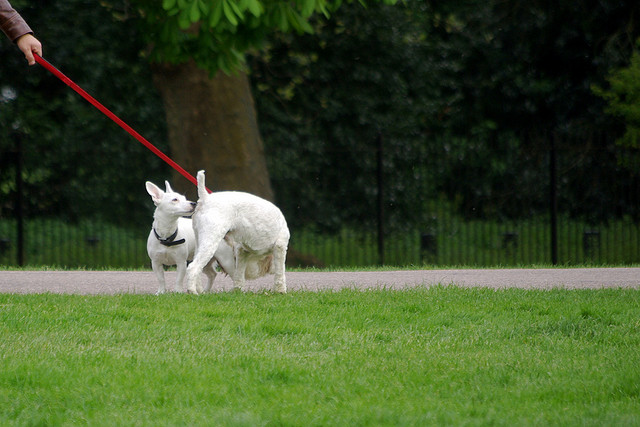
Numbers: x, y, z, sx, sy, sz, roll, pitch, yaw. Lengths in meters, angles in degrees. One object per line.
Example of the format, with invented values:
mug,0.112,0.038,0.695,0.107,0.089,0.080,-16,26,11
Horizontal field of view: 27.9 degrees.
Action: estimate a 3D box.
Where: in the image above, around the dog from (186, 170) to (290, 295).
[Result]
dog,-1.411,0.570,23.368,0.968,1.958,2.890,-5,-13,44
